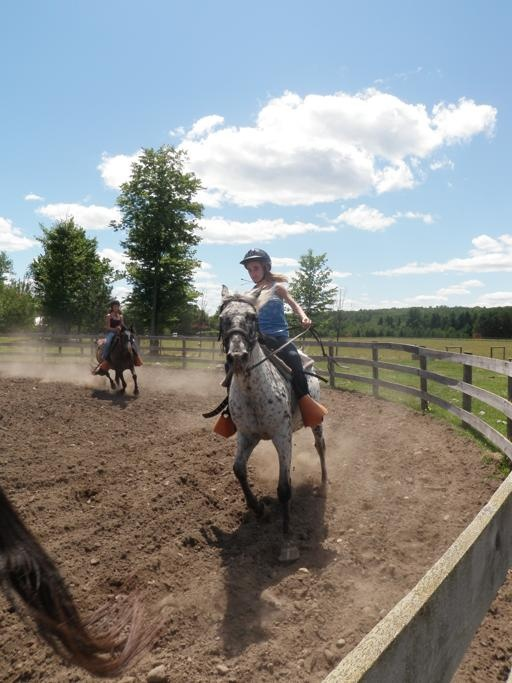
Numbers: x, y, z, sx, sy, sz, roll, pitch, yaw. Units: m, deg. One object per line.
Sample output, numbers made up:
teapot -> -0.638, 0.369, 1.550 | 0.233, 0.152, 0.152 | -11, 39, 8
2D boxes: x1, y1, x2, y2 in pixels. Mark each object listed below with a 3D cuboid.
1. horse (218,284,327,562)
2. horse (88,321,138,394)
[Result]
horse -> 0.170, 0.601, 5.002 | 0.845, 2.158, 1.821 | -1, 8, 7
horse -> -3.148, 0.443, 12.708 | 0.593, 1.317, 2.496 | -1, -3, -30
